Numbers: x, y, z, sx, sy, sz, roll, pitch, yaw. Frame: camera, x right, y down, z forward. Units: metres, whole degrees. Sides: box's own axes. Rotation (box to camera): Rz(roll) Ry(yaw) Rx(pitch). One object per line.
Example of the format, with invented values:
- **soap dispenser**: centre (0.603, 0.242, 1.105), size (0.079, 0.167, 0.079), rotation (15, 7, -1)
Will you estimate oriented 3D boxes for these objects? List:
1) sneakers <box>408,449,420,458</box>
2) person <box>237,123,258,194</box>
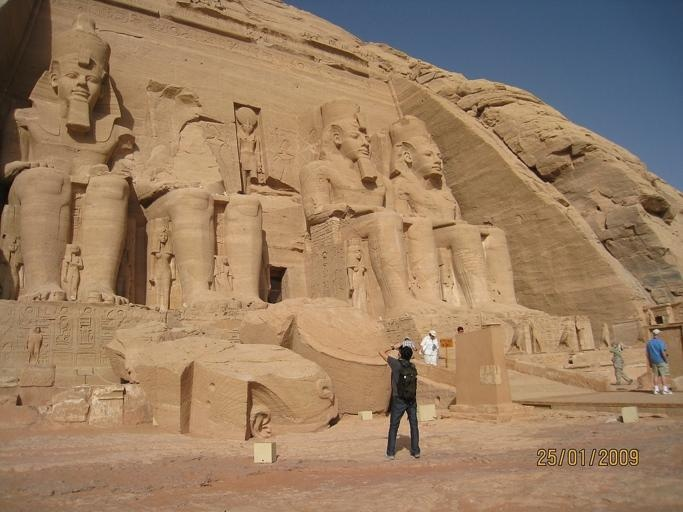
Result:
- **sneakers**: centre (0.671, 1.818, 5.654), size (0.080, 0.069, 0.194), rotation (0, -14, -4)
- **person**: centre (-2.029, -2.131, 13.339), size (0.278, 1.681, 0.490), rotation (-16, -29, 24)
